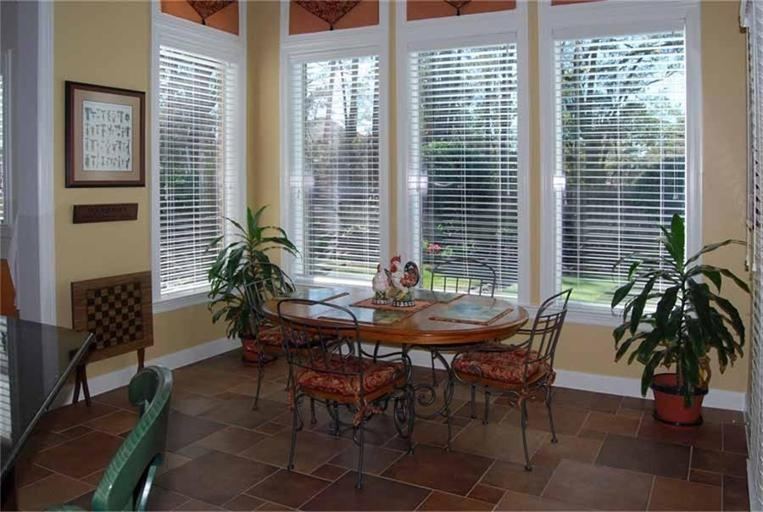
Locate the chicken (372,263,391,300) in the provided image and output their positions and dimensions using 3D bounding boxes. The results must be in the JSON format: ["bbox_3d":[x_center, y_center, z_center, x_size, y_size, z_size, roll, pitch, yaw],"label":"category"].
[{"bbox_3d":[-0.008,0.193,4.139,0.149,0.243,0.260,5,14,13],"label":"chicken"}]
